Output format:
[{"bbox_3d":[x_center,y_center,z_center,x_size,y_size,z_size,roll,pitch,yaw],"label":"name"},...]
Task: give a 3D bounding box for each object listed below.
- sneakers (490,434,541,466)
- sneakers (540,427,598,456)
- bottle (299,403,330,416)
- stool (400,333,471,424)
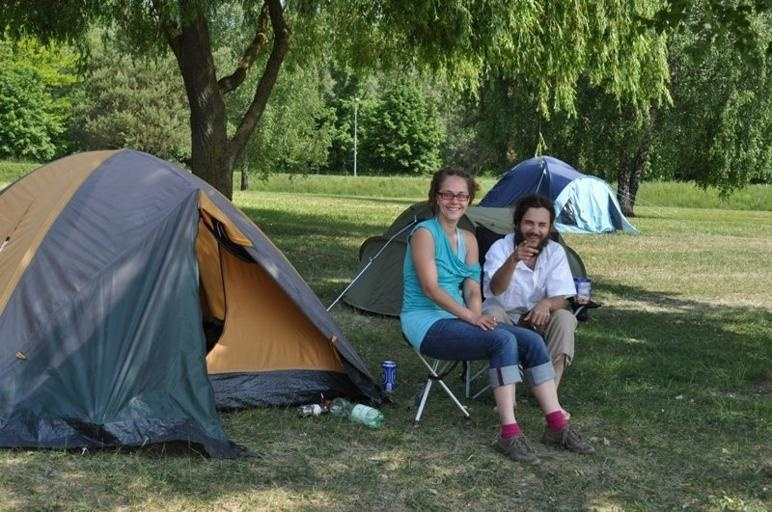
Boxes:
[{"bbox_3d":[1.400,2.021,8.694,0.397,0.177,0.224,22,22,34],"label":"sneakers"},{"bbox_3d":[1.996,1.983,8.825,0.448,0.207,0.248,13,10,9],"label":"sneakers"},{"bbox_3d":[-0.831,1.724,9.359,0.186,0.083,0.168,4,21,-21],"label":"bottle"},{"bbox_3d":[0.577,1.320,9.512,0.689,1.007,0.664,-6,4,11],"label":"stool"}]
